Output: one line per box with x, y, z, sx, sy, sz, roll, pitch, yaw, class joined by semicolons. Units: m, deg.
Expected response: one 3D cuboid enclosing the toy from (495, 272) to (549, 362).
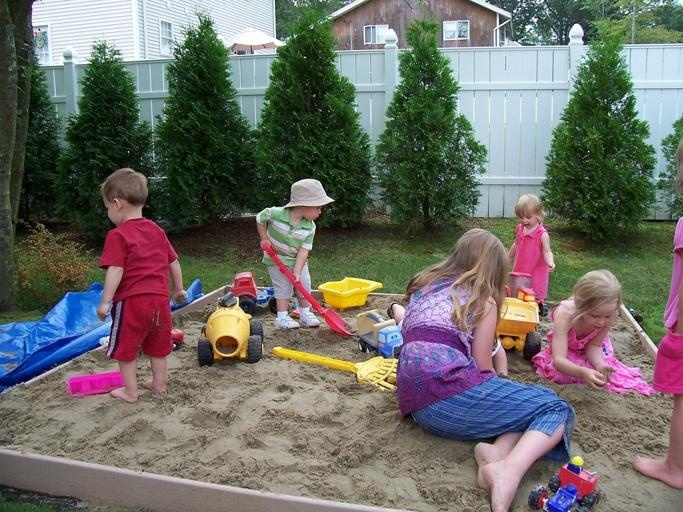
1.774;0.572;6.329;0.439;0.553;0.955;3;8;15;toy

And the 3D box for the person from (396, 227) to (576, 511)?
1.134;0.931;4.961;0.978;1.816;1.433;-9;14;-34;person

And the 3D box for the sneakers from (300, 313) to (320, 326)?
-0.338;0.683;6.761;0.091;0.116;0.248;-5;4;-39;sneakers

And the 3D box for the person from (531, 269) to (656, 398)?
2.191;0.574;5.344;0.898;1.120;0.949;1;9;0;person

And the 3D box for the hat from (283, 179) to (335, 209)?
-0.334;-0.628;6.556;0.333;0.189;0.291;-2;7;23;hat

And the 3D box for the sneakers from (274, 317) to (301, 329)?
-0.568;0.698;6.629;0.200;0.100;0.117;-1;10;10;sneakers

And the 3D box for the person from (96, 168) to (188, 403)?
-1.654;0.238;5.271;0.669;1.895;0.474;-2;6;-23;person
